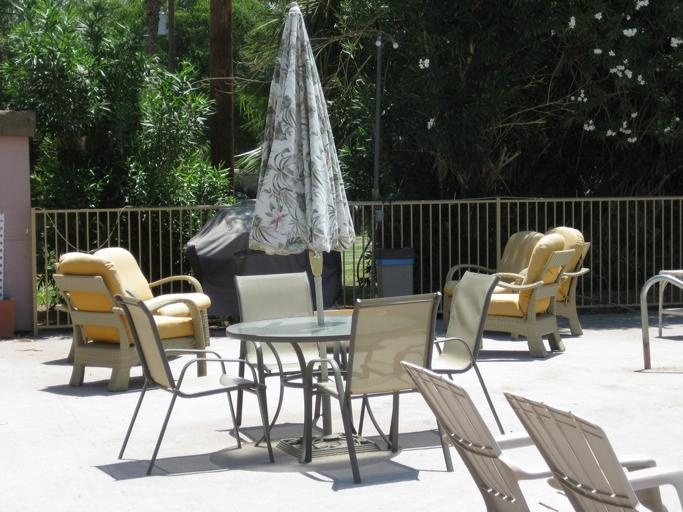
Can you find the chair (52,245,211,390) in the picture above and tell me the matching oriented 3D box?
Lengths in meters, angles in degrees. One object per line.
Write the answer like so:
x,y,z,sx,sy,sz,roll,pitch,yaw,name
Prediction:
-2.300,0.690,10.147,1.282,1.889,1.893,2,2,40,chair
